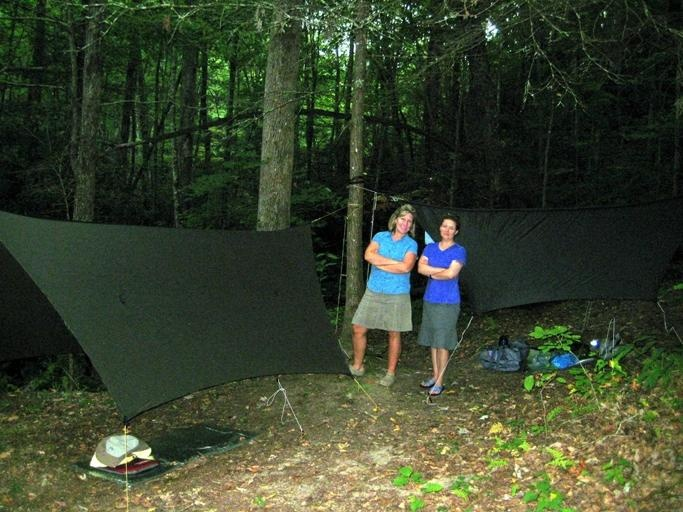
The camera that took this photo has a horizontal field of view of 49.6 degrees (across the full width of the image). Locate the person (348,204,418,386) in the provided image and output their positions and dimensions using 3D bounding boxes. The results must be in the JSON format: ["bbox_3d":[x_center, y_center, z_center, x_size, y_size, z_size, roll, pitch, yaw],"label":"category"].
[{"bbox_3d":[0.566,0.599,10.155,0.847,2.548,0.741,1,17,1],"label":"person"}]

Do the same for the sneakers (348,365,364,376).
[{"bbox_3d":[0.219,1.619,10.444,0.258,0.095,0.130,4,4,21],"label":"sneakers"}]

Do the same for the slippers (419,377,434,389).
[{"bbox_3d":[1.207,1.761,10.266,0.264,0.096,0.090,-7,14,-36],"label":"slippers"}]

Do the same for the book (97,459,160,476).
[{"bbox_3d":[-2.519,2.484,8.721,0.728,0.138,0.204,-2,16,-10],"label":"book"}]

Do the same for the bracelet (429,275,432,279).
[{"bbox_3d":[1.185,0.278,9.900,0.012,0.035,0.035,32,49,-6],"label":"bracelet"}]

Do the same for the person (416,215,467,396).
[{"bbox_3d":[1.300,0.839,10.032,0.619,2.146,0.717,3,17,8],"label":"person"}]
